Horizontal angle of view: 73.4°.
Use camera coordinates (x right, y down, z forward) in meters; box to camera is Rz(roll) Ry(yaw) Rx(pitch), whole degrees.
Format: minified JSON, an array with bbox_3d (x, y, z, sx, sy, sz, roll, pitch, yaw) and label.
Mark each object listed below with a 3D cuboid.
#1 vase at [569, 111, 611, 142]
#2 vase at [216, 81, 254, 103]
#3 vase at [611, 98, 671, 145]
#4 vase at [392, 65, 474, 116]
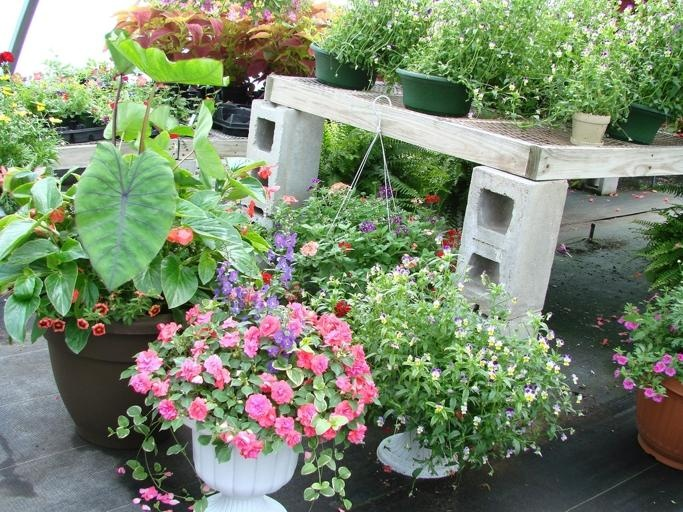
[{"bbox_3d":[1.092,-0.579,2.061,0.151,0.119,0.140,-4,19,-33],"label":"vase"},{"bbox_3d":[-0.898,-1.385,3.860,0.203,0.135,0.205,9,17,23],"label":"vase"},{"bbox_3d":[1.498,-0.666,2.375,0.297,0.159,0.224,16,11,0],"label":"vase"},{"bbox_3d":[0.476,-0.842,2.325,0.404,0.156,0.400,9,24,6],"label":"vase"}]
